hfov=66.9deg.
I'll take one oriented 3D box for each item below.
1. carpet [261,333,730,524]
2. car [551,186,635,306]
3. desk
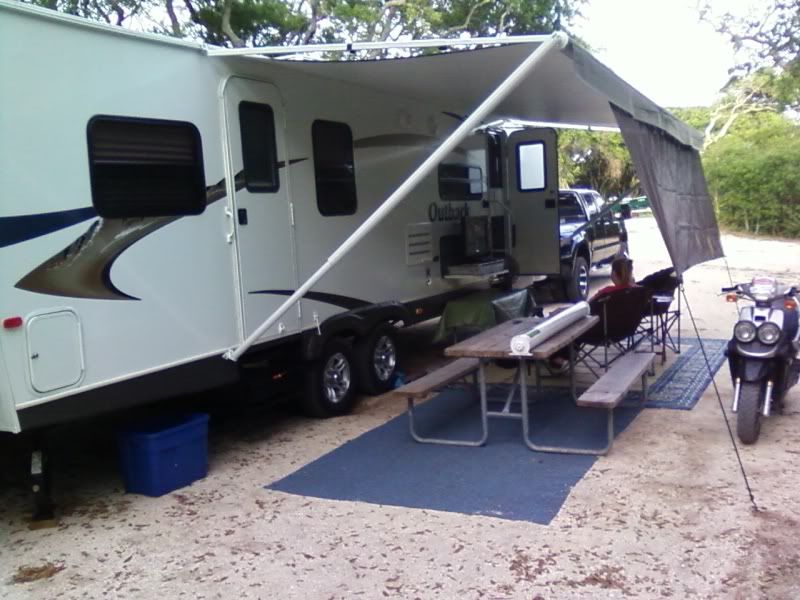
[{"bbox_3d":[0.988,1.176,5.439,2.165,0.059,4.116,6,13,44],"label":"carpet"},{"bbox_3d":[3.685,-1.324,13.074,1.874,1.991,3.859,8,16,40],"label":"car"},{"bbox_3d":[1.406,0.642,5.666,1.537,0.882,1.880,-5,9,41],"label":"desk"}]
